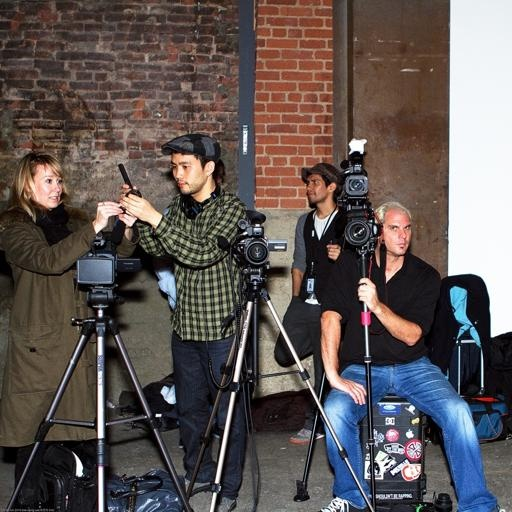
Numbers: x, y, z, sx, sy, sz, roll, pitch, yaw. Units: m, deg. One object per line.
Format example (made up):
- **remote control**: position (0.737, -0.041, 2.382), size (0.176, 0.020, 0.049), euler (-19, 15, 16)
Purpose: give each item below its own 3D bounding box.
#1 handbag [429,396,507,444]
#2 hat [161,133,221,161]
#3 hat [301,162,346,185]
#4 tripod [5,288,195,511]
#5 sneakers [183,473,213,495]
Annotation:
- **handbag**: position (1.504, 1.054, 5.094), size (0.423, 0.320, 0.345), euler (-3, -1, -18)
- **hat**: position (-0.342, -0.585, 3.970), size (0.233, 0.118, 0.162), euler (12, 2, -34)
- **hat**: position (0.477, -0.597, 5.334), size (0.256, 0.140, 0.184), euler (10, -6, -16)
- **tripod**: position (-0.791, 0.742, 3.590), size (0.889, 1.194, 0.554), euler (-2, 6, -4)
- **sneakers**: position (-0.293, 1.273, 4.148), size (0.223, 0.117, 0.143), euler (4, -3, -6)
